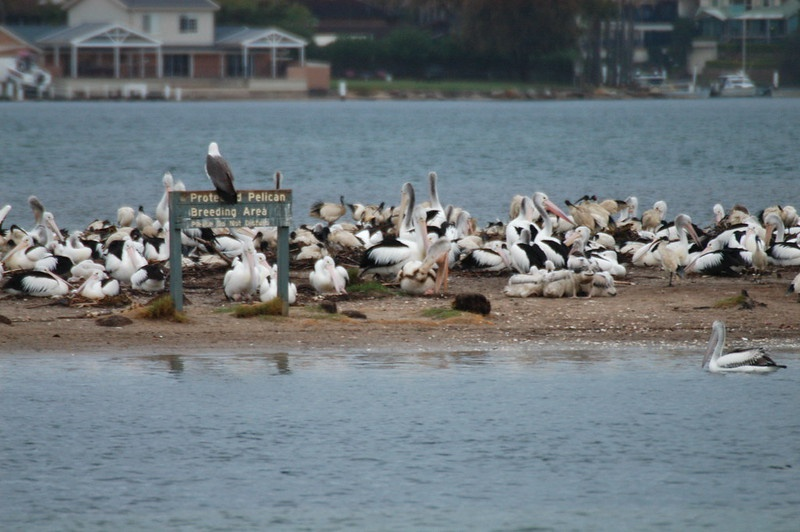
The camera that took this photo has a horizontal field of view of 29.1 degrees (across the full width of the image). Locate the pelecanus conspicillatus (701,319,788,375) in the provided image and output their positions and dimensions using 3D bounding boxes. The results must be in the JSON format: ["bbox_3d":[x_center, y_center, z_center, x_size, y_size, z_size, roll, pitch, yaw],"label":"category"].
[{"bbox_3d":[7.876,1.915,35.210,1.233,1.236,2.283,-2,-5,-35],"label":"pelecanus conspicillatus"}]
